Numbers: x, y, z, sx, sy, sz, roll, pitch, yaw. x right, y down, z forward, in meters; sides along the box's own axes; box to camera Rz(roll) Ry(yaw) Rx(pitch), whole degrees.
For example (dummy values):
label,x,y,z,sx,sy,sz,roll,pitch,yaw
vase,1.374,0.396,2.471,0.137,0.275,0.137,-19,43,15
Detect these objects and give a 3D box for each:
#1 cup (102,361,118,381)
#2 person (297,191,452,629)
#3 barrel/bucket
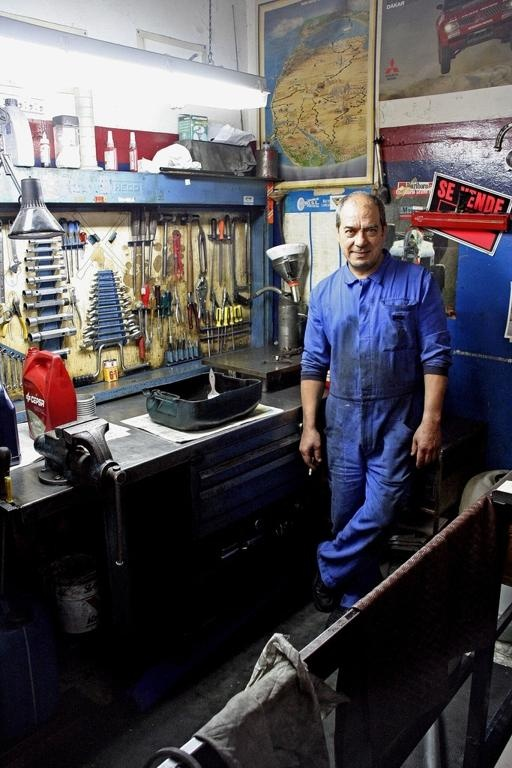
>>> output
label,x,y,z,sx,sy,sz,roll,pitch,yaw
cup,-0.727,-0.066,2.792,0.041,0.096,0.077,6,12,27
person,0.452,0.100,2.327,0.637,1.703,0.355,5,13,22
barrel/bucket,-0.788,0.040,2.120,0.285,0.425,0.160,11,15,41
